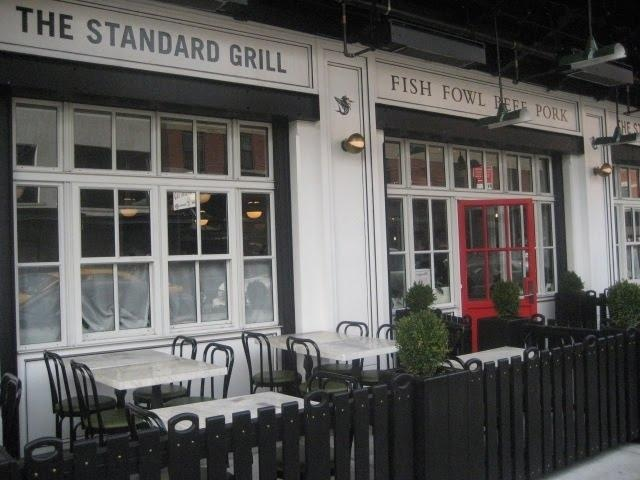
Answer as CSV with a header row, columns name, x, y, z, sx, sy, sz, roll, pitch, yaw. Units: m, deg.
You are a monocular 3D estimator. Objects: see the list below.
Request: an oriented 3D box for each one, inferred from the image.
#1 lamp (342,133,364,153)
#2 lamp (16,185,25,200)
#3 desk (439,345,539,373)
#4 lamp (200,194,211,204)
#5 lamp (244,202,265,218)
name,x,y,z,sx,sy,sz,roll,pitch,yaw
lamp,0.382,-1.093,7.856,0.288,0.213,0.205,-3,-5,-11
lamp,-2.898,-0.463,6.735,0.130,0.133,0.108,2,-6,-39
desk,1.532,1.098,6.305,0.691,0.240,1.835,-5,-5,14
lamp,-1.250,-0.450,7.542,0.097,0.064,0.098,0,-3,1
lamp,-0.746,-0.338,7.744,0.172,0.189,0.170,-1,-2,-33
